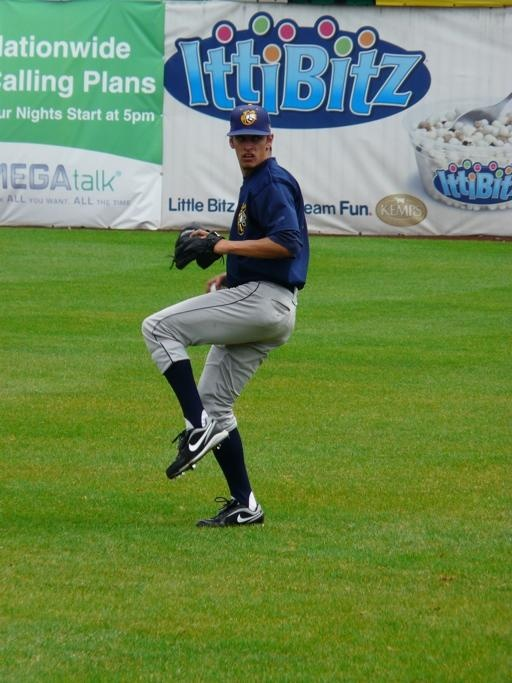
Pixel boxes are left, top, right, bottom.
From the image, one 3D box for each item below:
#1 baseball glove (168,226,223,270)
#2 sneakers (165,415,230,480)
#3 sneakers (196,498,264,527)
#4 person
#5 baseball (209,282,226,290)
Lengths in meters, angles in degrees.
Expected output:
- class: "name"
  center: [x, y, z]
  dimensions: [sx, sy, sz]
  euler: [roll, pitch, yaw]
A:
- class: "baseball glove"
  center: [-0.268, -0.438, 6.582]
  dimensions: [0.217, 0.224, 0.100]
  euler: [11, -15, 39]
- class: "sneakers"
  center: [-0.277, 0.488, 6.425]
  dimensions: [0.332, 0.263, 0.173]
  euler: [-3, 14, -16]
- class: "sneakers"
  center: [-0.117, 0.827, 6.529]
  dimensions: [0.356, 0.154, 0.121]
  euler: [0, -17, -9]
- class: "person"
  center: [-0.127, -0.129, 6.491]
  dimensions: [0.833, 1.965, 0.617]
  euler: [-1, 14, -10]
- class: "baseball"
  center: [-0.198, -0.282, 6.915]
  dimensions: [0.058, 0.028, 0.044]
  euler: [-6, 17, 13]
